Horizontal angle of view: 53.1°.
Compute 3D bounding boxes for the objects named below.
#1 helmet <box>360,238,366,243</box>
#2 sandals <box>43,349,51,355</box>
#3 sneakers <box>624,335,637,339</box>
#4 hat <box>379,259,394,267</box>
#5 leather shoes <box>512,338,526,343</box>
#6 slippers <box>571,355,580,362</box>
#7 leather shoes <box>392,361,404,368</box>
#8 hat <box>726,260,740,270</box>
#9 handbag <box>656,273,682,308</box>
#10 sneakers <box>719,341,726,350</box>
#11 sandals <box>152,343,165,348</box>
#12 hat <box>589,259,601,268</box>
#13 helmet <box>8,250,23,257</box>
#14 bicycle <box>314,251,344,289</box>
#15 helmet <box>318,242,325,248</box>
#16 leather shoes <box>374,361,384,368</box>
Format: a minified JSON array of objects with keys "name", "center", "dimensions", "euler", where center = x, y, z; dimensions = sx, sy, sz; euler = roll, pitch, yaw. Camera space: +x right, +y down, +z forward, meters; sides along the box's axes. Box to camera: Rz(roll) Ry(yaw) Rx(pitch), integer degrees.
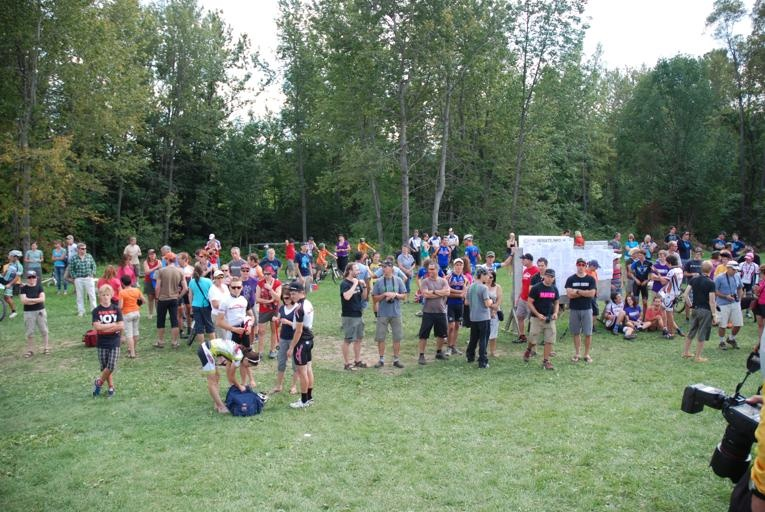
[{"name":"helmet","center":[-0.948,-0.757,36.650],"dimensions":[0.324,0.207,0.468],"euler":[-1,4,0]},{"name":"sandals","center":[-11.523,3.274,26.227],"dimensions":[0.120,0.097,0.338],"euler":[-7,7,-36]},{"name":"sneakers","center":[9.045,2.948,27.837],"dimensions":[0.405,0.184,0.150],"euler":[-6,27,14]},{"name":"hat","center":[0.155,0.216,25.609],"dimensions":[0.257,0.267,0.324],"euler":[1,-9,-21]},{"name":"leather shoes","center":[4.960,3.038,27.659],"dimensions":[0.502,0.230,0.191],"euler":[2,-2,6]},{"name":"slippers","center":[6.594,3.485,26.041],"dimensions":[0.181,0.118,0.258],"euler":[-8,9,8]},{"name":"leather shoes","center":[0.534,3.629,25.646],"dimensions":[0.325,0.224,0.181],"euler":[1,2,29]},{"name":"hat","center":[12.248,0.322,26.728],"dimensions":[0.385,0.216,0.306],"euler":[8,17,35]},{"name":"handbag","center":[10.516,1.219,28.111],"dimensions":[0.678,1.585,1.196],"euler":[6,4,35]},{"name":"sneakers","center":[11.882,3.117,26.636],"dimensions":[0.136,0.293,0.406],"euler":[-4,-11,13]},{"name":"sandals","center":[-7.801,3.132,26.705],"dimensions":[0.343,0.166,0.141],"euler":[8,6,38]},{"name":"hat","center":[7.382,0.274,26.617],"dimensions":[0.278,0.226,0.427],"euler":[13,13,38]},{"name":"helmet","center":[-14.415,-0.107,30.128],"dimensions":[0.513,0.170,0.524],"euler":[0,-1,-5]},{"name":"bicycle","center":[-2.944,0.652,38.601],"dimensions":[1.005,1.216,1.887],"euler":[0,-4,-39]},{"name":"helmet","center":[-3.003,-0.513,38.153],"dimensions":[0.500,0.234,0.688],"euler":[1,5,-3]},{"name":"leather shoes","center":[-0.104,3.616,25.566],"dimensions":[0.174,0.143,0.334],"euler":[0,-6,30]}]
